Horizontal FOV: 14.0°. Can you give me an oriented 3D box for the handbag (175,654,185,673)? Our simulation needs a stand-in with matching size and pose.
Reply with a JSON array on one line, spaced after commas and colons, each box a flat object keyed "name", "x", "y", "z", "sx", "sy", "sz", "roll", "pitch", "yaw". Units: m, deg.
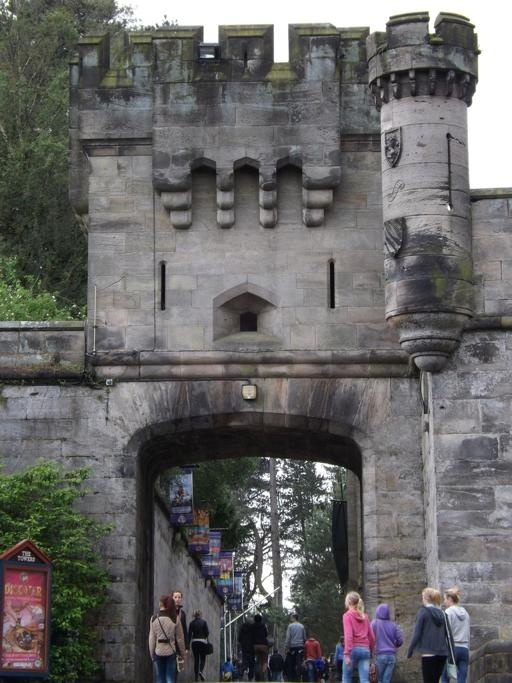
[{"name": "handbag", "x": -1.131, "y": 4.243, "z": 27.285, "sx": 0.072, "sy": 0.249, "sz": 0.180, "roll": 4, "pitch": 2, "yaw": 30}]

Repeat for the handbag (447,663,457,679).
[{"name": "handbag", "x": 2.369, "y": 3.999, "z": 25.278, "sx": 0.086, "sy": 0.212, "sz": 0.207, "roll": -3, "pitch": -2, "yaw": -15}]
